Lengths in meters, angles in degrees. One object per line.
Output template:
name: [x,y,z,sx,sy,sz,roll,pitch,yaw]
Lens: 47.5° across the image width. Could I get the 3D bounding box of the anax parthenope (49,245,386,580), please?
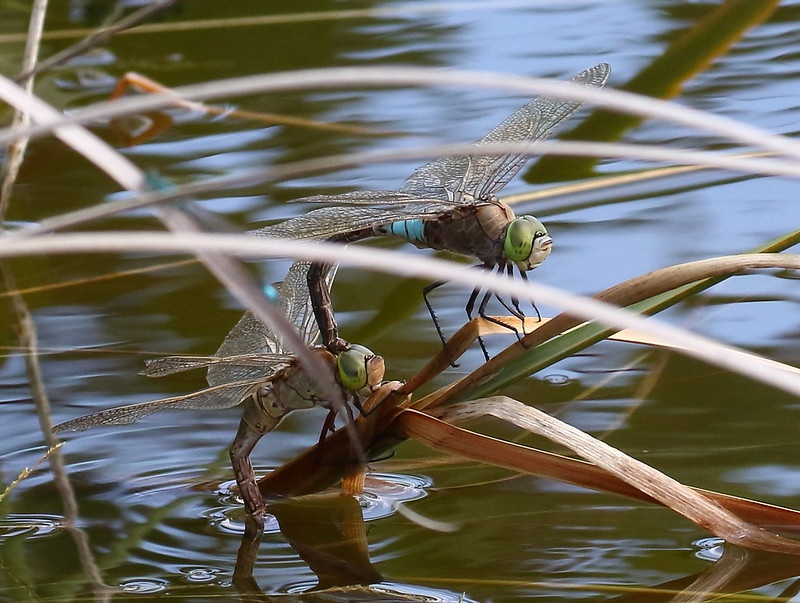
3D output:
anax parthenope: [-0.182,0.114,1.009,0.339,0.337,0.204,-7,-41,-3]
